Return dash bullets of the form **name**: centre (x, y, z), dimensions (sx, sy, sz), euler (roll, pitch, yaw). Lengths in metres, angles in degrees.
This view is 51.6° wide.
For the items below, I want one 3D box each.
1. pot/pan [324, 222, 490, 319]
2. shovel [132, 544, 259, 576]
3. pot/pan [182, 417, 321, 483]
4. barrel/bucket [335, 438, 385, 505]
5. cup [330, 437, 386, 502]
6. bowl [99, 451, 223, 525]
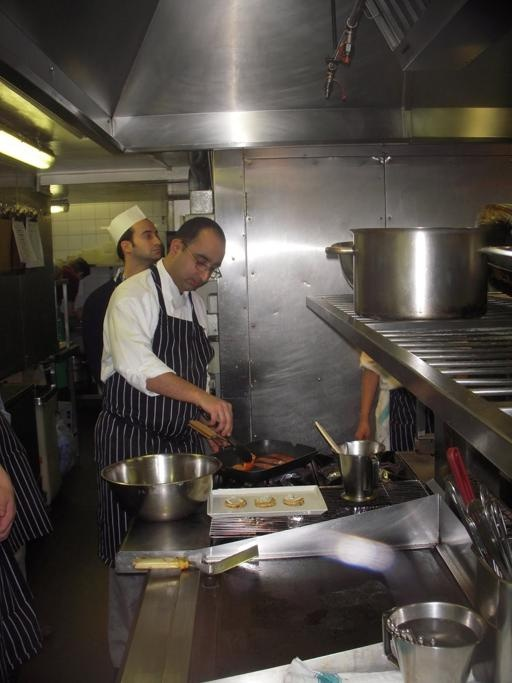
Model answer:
- **pot/pan**: centre (0.257, -0.104, 0.868), dimensions (0.236, 0.110, 0.158), euler (-1, 3, 0)
- **shovel**: centre (-0.113, 0.430, 1.029), dimensions (0.245, 0.032, 0.063), euler (-3, 6, -9)
- **pot/pan**: centre (0.003, 0.308, 1.666), dimensions (0.218, 0.047, 0.335), euler (-5, 6, -40)
- **barrel/bucket**: centre (0.257, 0.323, 1.265), dimensions (0.102, 0.113, 0.135), euler (1, 3, -14)
- **cup**: centre (0.249, 0.314, 1.306), dimensions (0.111, 0.105, 0.142), euler (-1, 10, 0)
- **bowl**: centre (-0.216, 0.346, 1.241), dimensions (0.274, 0.129, 0.230), euler (-4, 6, -16)
